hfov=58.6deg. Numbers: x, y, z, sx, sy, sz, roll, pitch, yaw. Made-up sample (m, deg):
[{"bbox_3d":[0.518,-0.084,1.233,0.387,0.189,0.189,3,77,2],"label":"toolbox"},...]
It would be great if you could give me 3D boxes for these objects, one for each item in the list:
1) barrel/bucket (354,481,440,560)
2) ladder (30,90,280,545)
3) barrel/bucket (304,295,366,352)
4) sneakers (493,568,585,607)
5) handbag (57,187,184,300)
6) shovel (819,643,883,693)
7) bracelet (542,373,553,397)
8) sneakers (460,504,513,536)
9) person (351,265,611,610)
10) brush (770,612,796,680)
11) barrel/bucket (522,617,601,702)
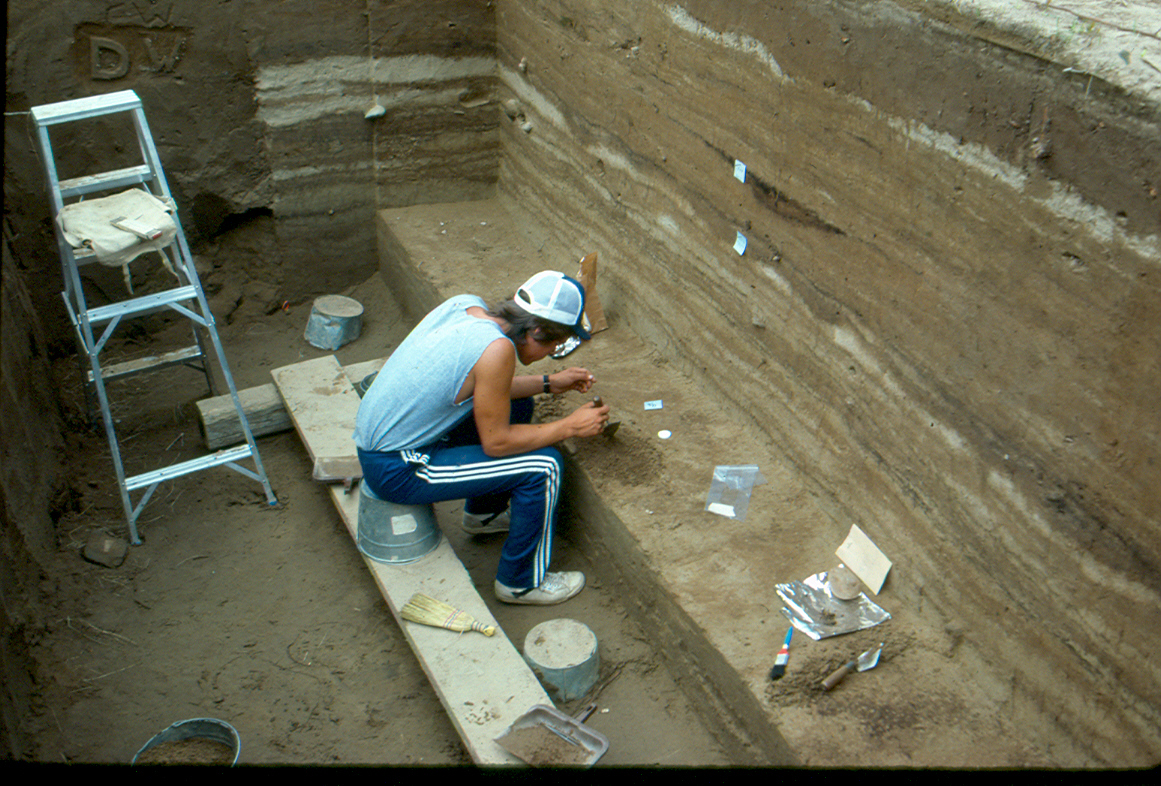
[{"bbox_3d":[-0.820,0.594,4.709,0.353,0.225,0.346,0,25,0],"label":"barrel/bucket"},{"bbox_3d":[-2.259,-0.388,5.380,0.731,1.571,1.803,-22,49,-20],"label":"ladder"},{"bbox_3d":[-1.433,-0.405,6.145,0.242,0.155,0.230,18,22,-8],"label":"barrel/bucket"},{"bbox_3d":[-0.197,0.876,4.750,0.388,0.158,0.159,-5,39,-6],"label":"sneakers"},{"bbox_3d":[-2.099,-0.667,4.885,0.463,0.292,0.482,-13,22,1],"label":"handbag"},{"bbox_3d":[1.091,1.091,4.162,0.293,0.046,0.121,-28,37,-24],"label":"shovel"},{"bbox_3d":[-0.161,-0.046,4.856,0.051,0.075,0.073,1,17,-2],"label":"bracelet"},{"bbox_3d":[-0.463,0.614,5.086,0.295,0.128,0.107,-10,34,-24],"label":"sneakers"},{"bbox_3d":[-0.451,0.228,4.729,0.851,1.365,1.077,16,22,36],"label":"person"},{"bbox_3d":[0.847,1.030,4.213,0.066,0.066,0.276,-3,37,30],"label":"brush"},{"bbox_3d":[-0.062,1.149,4.456,0.368,0.315,0.257,-7,15,-12],"label":"barrel/bucket"}]
